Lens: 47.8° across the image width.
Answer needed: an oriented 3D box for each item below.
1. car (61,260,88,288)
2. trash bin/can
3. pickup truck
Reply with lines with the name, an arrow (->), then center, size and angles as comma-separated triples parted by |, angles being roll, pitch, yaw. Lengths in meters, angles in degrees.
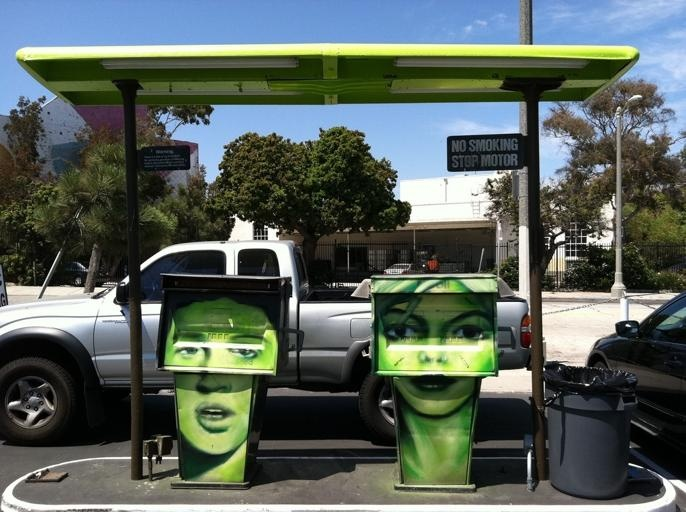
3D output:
car -> -12.725, 0.904, 36.606 | 1.441, 0.879, 0.894 | 8, 5, 18
trash bin/can -> 2.645, 1.826, 8.372 | 0.941, 1.390, 1.015 | 1, 8, 21
pickup truck -> -0.897, 1.215, 10.821 | 6.567, 2.751, 2.947 | 2, -3, 1
